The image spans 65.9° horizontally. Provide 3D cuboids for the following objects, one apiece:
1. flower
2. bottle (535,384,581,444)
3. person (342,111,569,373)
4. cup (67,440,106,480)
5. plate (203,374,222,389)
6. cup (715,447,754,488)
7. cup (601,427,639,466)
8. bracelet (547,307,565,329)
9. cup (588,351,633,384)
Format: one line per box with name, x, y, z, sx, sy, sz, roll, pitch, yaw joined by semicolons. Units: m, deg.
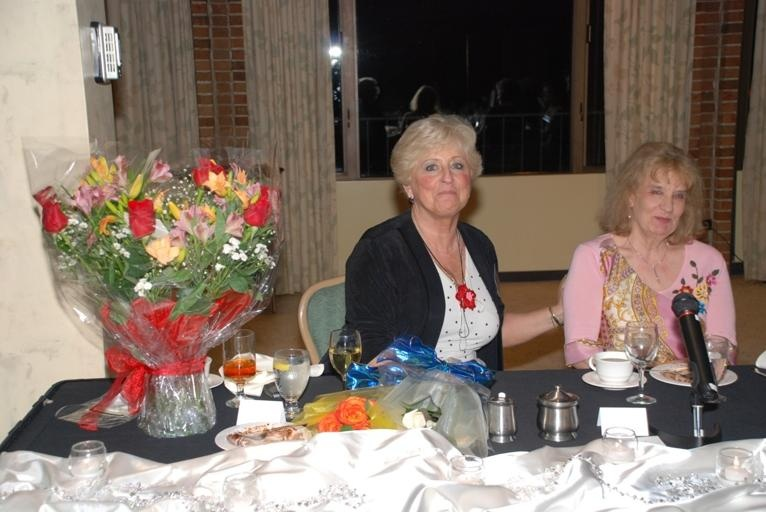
flower;-0.590;0.089;1.942;0.811;0.977;0.761;1;3;-10
bottle;0.488;0.449;1.652;0.120;0.168;0.124;0;-8;0
person;0.177;-0.043;2.430;0.706;1.053;0.462;-4;11;-13
cup;-0.694;0.476;1.387;0.074;0.060;0.076;1;-8;0
plate;-0.582;0.424;2.020;0.070;0.013;0.073;8;20;14
cup;0.818;0.488;1.378;0.074;0.067;0.076;0;-2;0
cup;0.576;0.462;1.431;0.068;0.062;0.070;0;-1;0
bracelet;0.769;0.275;2.624;0.033;0.084;0.062;-38;-19;17
cup;0.754;0.367;1.978;0.103;0.067;0.120;0;-4;-21
